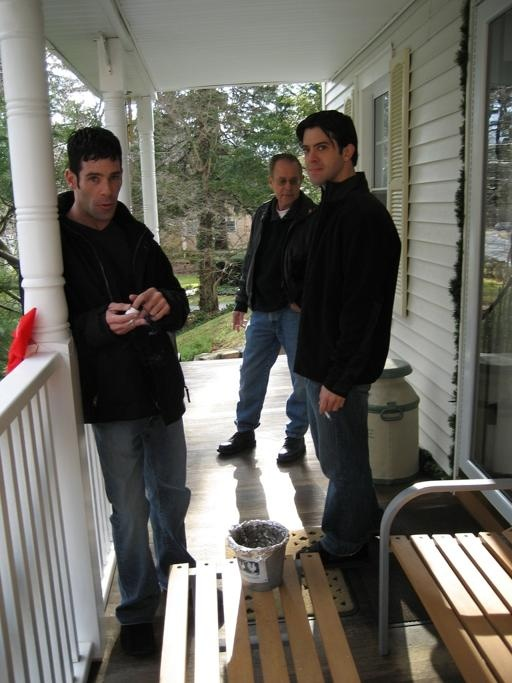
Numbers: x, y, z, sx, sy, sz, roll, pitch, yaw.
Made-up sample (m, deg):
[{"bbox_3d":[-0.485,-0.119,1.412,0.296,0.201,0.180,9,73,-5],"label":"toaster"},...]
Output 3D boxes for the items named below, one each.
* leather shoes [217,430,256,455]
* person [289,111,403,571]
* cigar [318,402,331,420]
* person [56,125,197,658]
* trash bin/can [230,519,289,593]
[{"bbox_3d":[-0.117,0.666,3.569,0.286,0.119,0.104,1,-9,-42],"label":"leather shoes"},{"bbox_3d":[0.346,0.017,2.083,0.403,1.733,0.419,-7,14,-11],"label":"person"},{"bbox_3d":[0.251,0.256,2.012,0.025,0.055,0.043,-7,8,-12],"label":"cigar"},{"bbox_3d":[-0.398,0.182,1.785,0.379,1.679,0.486,-5,13,-2],"label":"person"},{"bbox_3d":[0.009,0.629,1.653,0.204,0.150,0.195,-2,7,-1],"label":"trash bin/can"}]
